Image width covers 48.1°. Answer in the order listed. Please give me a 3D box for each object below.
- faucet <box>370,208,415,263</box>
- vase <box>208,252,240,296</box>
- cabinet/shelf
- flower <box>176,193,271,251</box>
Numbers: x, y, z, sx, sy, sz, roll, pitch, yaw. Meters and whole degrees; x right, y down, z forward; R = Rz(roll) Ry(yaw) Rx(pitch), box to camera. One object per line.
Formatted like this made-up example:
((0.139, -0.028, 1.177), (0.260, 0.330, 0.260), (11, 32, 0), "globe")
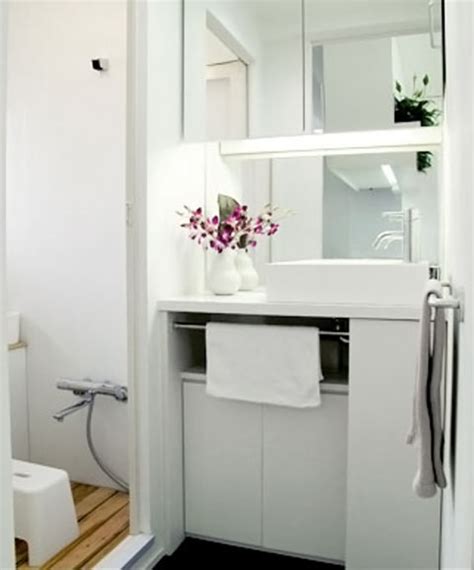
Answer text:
((0.586, -0.193, 1.962), (0.158, 0.100, 0.278), (-6, -43, 15), "faucet")
((-0.052, -0.045, 2.109), (0.103, 0.227, 0.180), (-1, -10, 6), "vase")
((0.120, 0.648, 1.833), (0.423, 0.576, 0.178), (1, 3, 18), "cabinet/shelf")
((-0.042, -0.265, 2.169), (0.392, 0.290, 0.265), (5, -10, 26), "flower")
